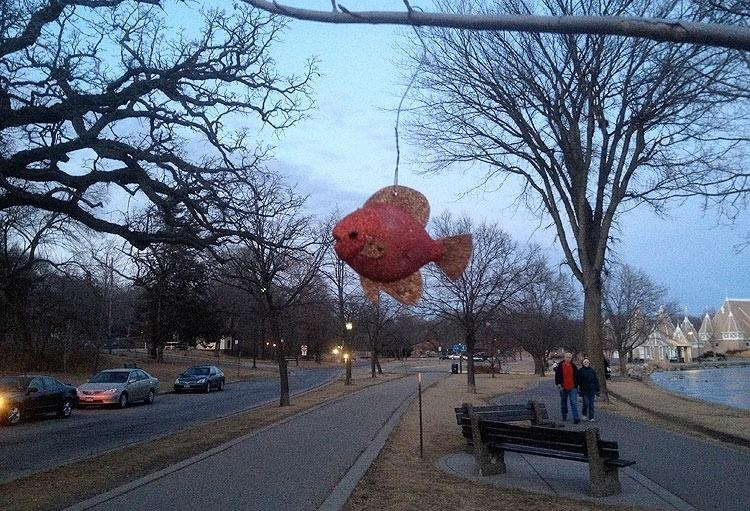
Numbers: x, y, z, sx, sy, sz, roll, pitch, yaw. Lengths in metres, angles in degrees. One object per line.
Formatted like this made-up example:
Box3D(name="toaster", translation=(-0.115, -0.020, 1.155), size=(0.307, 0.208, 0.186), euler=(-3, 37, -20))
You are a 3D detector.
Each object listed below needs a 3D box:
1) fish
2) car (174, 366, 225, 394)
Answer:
Box3D(name="fish", translation=(0.318, -0.155, 8.142), size=(1.765, 1.578, 0.439), euler=(0, -9, -8))
Box3D(name="car", translation=(-10.917, 7.791, 38.504), size=(1.978, 1.737, 3.390), euler=(-9, -14, 33))
